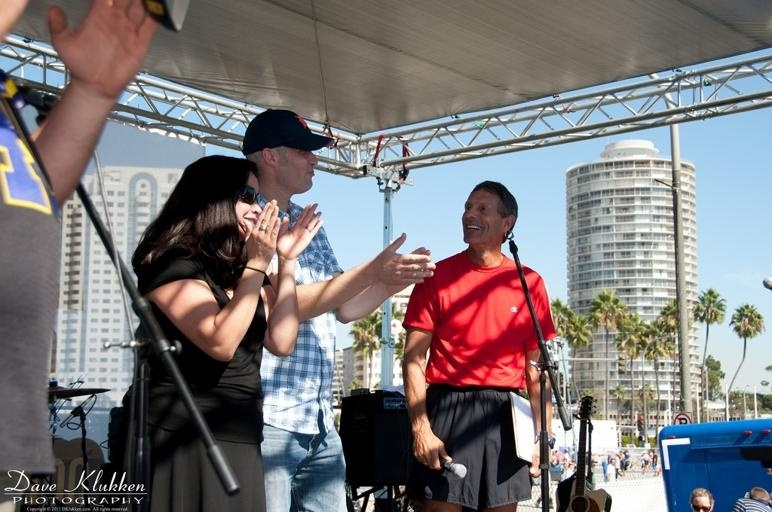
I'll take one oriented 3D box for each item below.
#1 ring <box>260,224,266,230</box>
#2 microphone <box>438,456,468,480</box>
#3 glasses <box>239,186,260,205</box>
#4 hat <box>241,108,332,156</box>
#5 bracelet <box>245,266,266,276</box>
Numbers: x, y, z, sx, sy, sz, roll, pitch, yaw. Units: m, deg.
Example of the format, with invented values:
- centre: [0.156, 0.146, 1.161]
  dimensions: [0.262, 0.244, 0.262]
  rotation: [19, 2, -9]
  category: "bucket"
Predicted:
- centre: [-0.579, -0.136, 3.929]
  dimensions: [0.026, 0.015, 0.026]
  rotation: [2, -8, 0]
  category: "ring"
- centre: [0.409, 1.286, 5.020]
  dimensions: [0.158, 0.126, 0.247]
  rotation: [0, -12, 5]
  category: "microphone"
- centre: [-0.679, -0.300, 4.144]
  dimensions: [0.033, 0.082, 0.090]
  rotation: [7, -1, 37]
  category: "glasses"
- centre: [-0.568, -0.762, 4.975]
  dimensions: [0.600, 0.253, 0.380]
  rotation: [-5, 11, 9]
  category: "hat"
- centre: [-0.619, 0.071, 3.930]
  dimensions: [0.050, 0.011, 0.048]
  rotation: [4, -23, 24]
  category: "bracelet"
